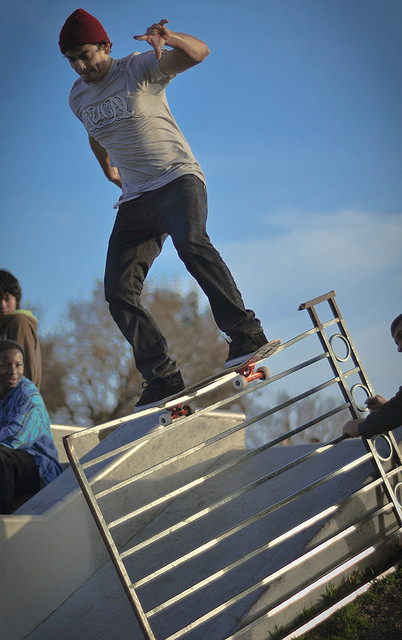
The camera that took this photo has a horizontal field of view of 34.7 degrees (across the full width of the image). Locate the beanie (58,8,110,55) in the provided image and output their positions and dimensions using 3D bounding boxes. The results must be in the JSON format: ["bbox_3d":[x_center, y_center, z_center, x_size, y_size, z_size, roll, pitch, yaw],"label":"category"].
[{"bbox_3d":[-0.667,-1.610,3.704,0.252,0.200,0.270,-15,15,17],"label":"beanie"}]
